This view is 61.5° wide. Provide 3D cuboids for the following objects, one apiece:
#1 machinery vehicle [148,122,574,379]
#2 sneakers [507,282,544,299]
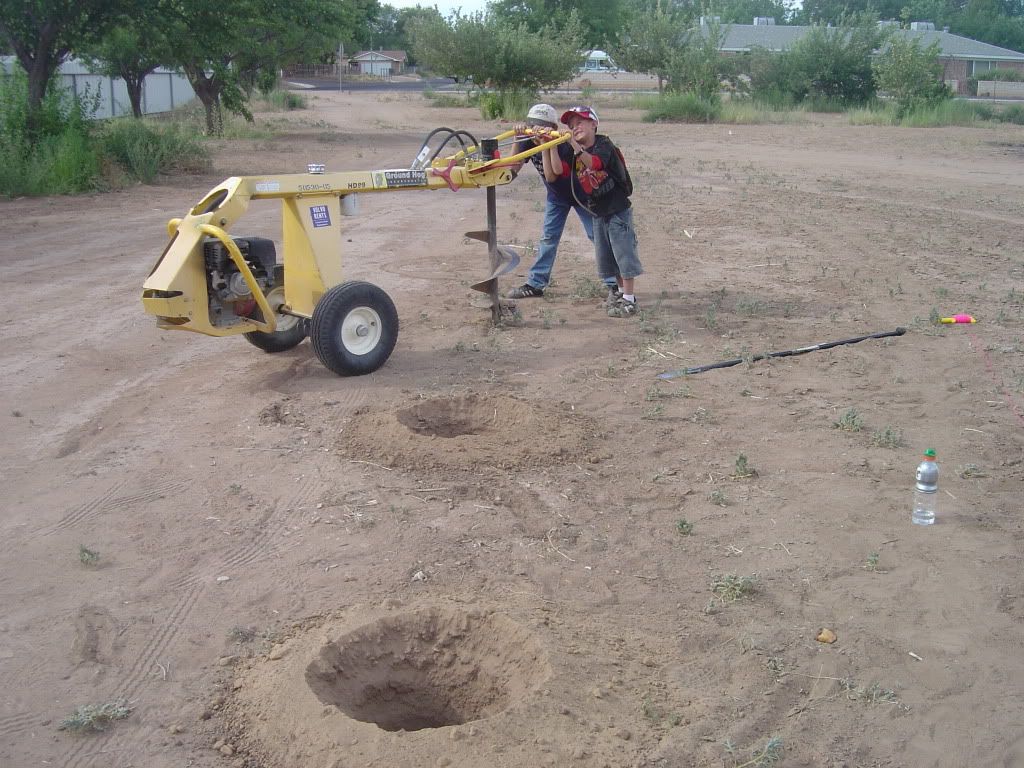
[{"bbox_3d":[-1.327,-1.362,8.375,4.293,2.016,1.796,-18,27,-37],"label":"machinery vehicle"},{"bbox_3d":[0.146,-1.112,10.315,0.485,0.182,0.152,3,18,-9],"label":"sneakers"}]
